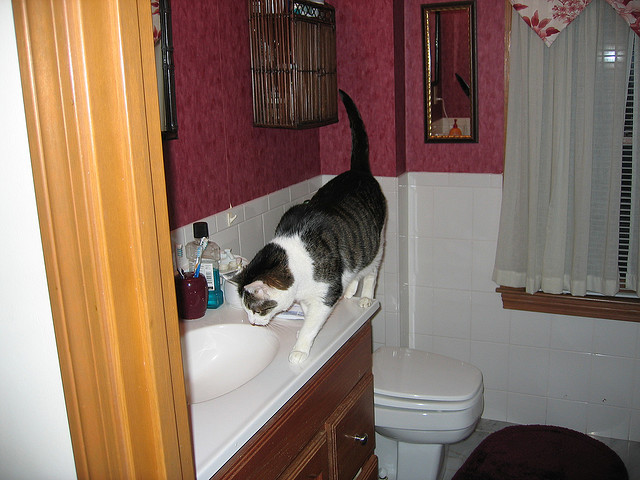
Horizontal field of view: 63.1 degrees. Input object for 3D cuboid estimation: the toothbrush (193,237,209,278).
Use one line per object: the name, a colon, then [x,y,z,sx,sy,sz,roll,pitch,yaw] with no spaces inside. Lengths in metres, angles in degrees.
toothbrush: [-0.372,0.054,1.601,0.027,0.138,0.011,11,-15,-16]

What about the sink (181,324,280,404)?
sink: [-0.244,0.326,1.441,0.261,0.143,0.173,-4,12,-18]

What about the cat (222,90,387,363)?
cat: [0.011,-0.049,1.616,0.358,0.721,0.375,-6,26,-27]

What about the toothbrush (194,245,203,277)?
toothbrush: [-0.368,0.065,1.603,0.020,0.087,0.011,1,-24,21]
